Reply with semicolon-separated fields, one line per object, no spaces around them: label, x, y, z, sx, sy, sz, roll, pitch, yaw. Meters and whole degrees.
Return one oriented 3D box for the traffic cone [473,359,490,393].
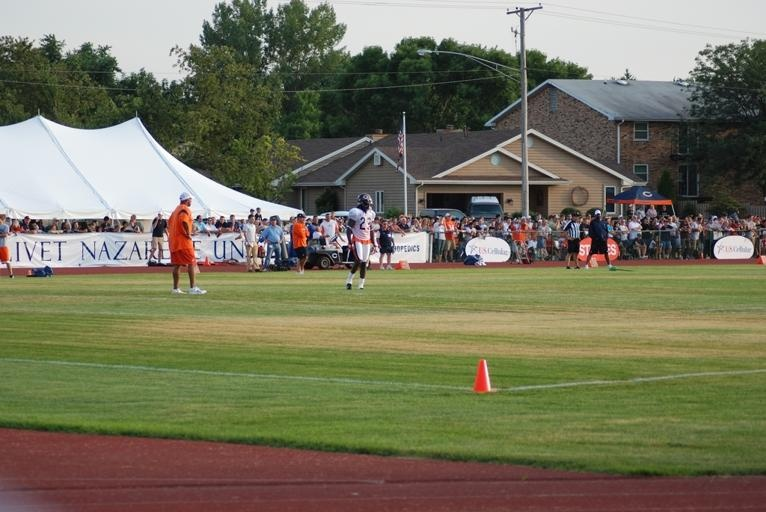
traffic cone;3.516;4.173;69.517;0.643;1.140;0.906;0;1;3

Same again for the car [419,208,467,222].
car;3.218;-2.188;109.869;1.834;0.640;1.039;-1;5;6

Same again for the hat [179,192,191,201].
hat;-8.182;-2.389;80.291;0.744;0.337;0.873;-3;2;-8

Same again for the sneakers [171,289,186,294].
sneakers;-8.474;1.412;80.428;0.619;0.216;0.188;3;12;-9

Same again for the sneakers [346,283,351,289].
sneakers;-1.442;1.248;81.909;0.276;0.215;0.177;-1;3;-11
